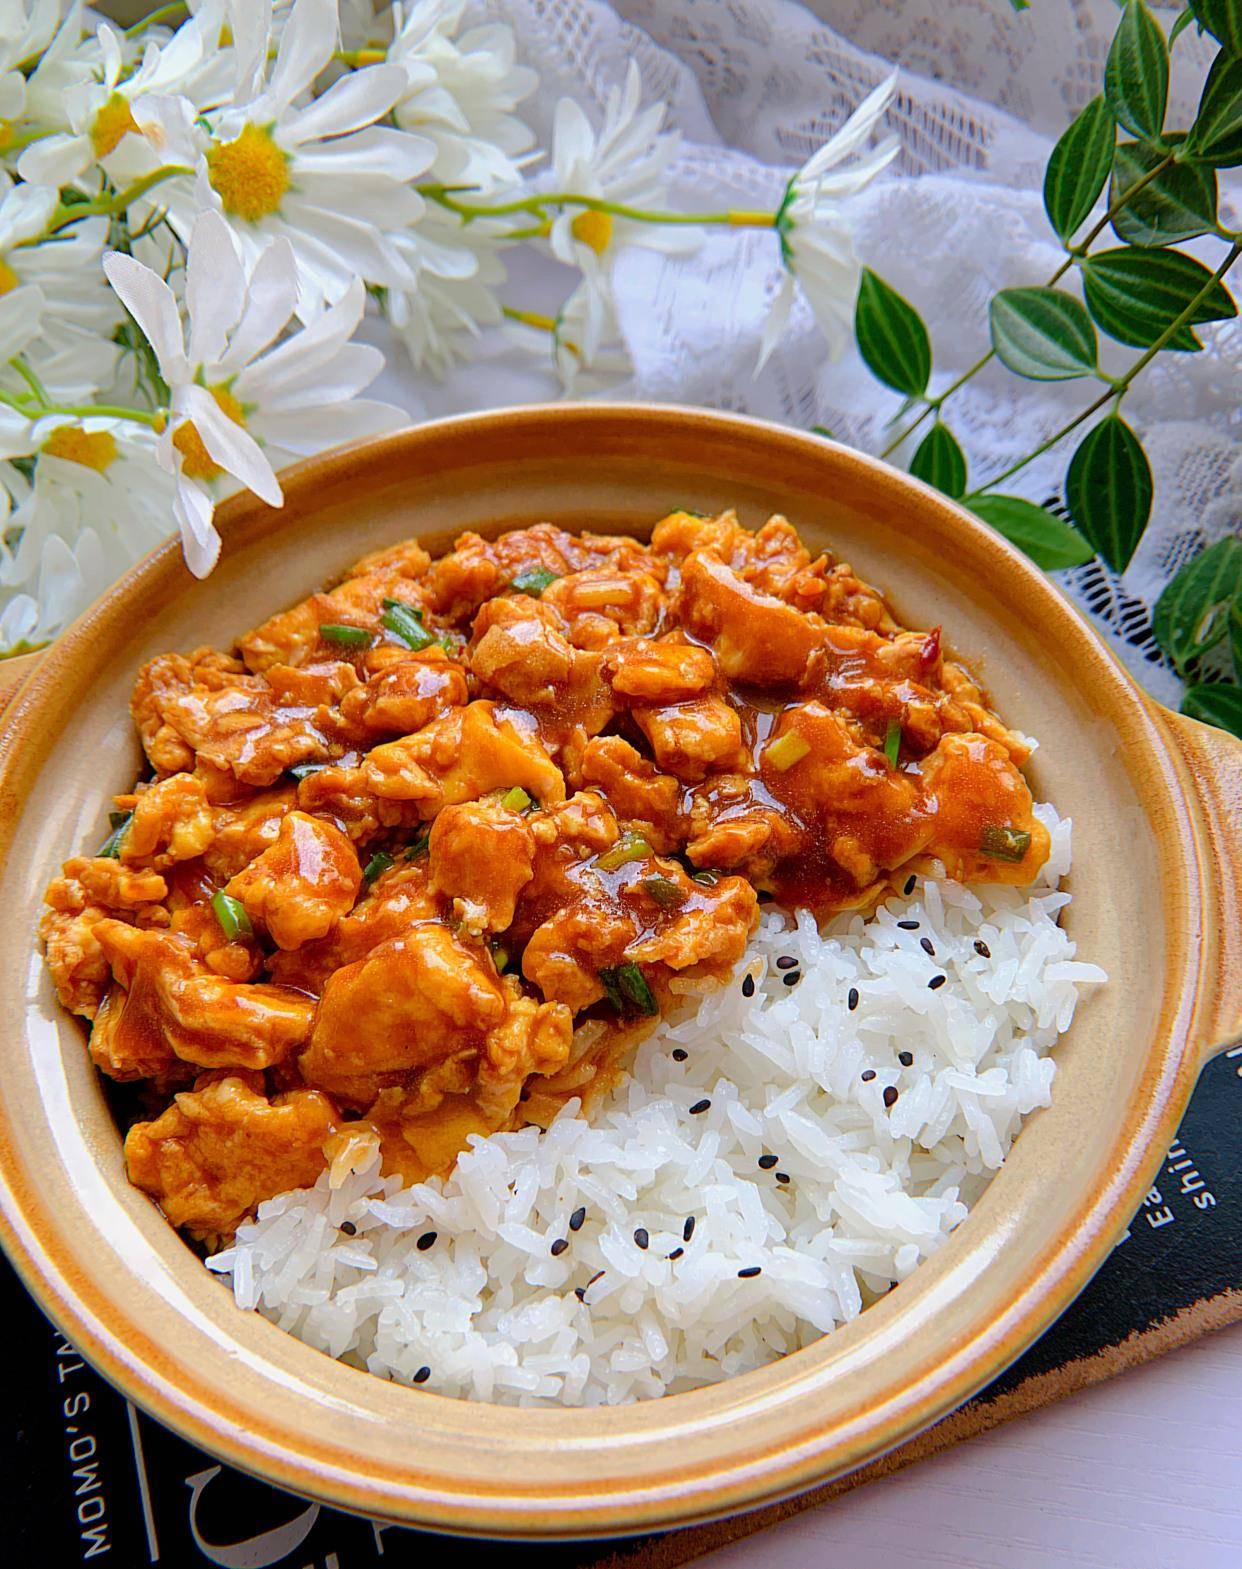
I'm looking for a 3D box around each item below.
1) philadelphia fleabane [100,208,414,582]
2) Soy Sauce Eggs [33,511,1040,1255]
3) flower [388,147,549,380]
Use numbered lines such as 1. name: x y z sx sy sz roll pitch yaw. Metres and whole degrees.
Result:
1. philadelphia fleabane: -0.700 -0.771 3.041 0.299 0.621 0.701 13 38 42
2. Soy Sauce Eggs: -0.161 -0.029 3.108 1.735 0.315 0.912 -19 81 0
3. flower: -0.383 -1.224 3.801 0.243 0.501 0.544 12 30 -18
